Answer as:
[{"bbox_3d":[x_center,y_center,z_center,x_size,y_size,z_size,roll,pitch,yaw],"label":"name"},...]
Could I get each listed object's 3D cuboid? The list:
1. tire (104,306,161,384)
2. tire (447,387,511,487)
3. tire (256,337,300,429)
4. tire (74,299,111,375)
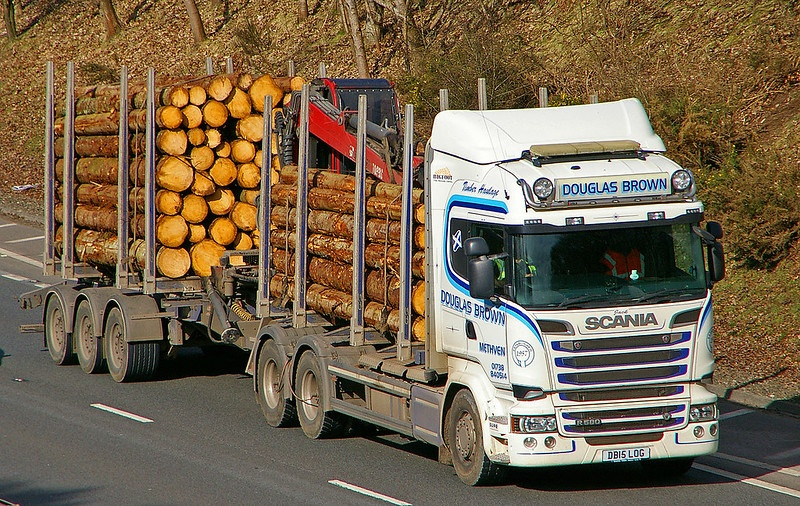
[{"bbox_3d":[-5.923,2.013,31.717,0.744,2.027,1.932,-1,4,-29],"label":"tire"},{"bbox_3d":[1.451,3.314,26.083,0.599,1.986,1.630,-4,6,-31],"label":"tire"},{"bbox_3d":[-2.416,2.616,28.866,0.578,1.951,1.608,-3,5,-25],"label":"tire"},{"bbox_3d":[-6.712,1.856,31.667,0.435,1.565,1.315,-4,13,-29],"label":"tire"}]
